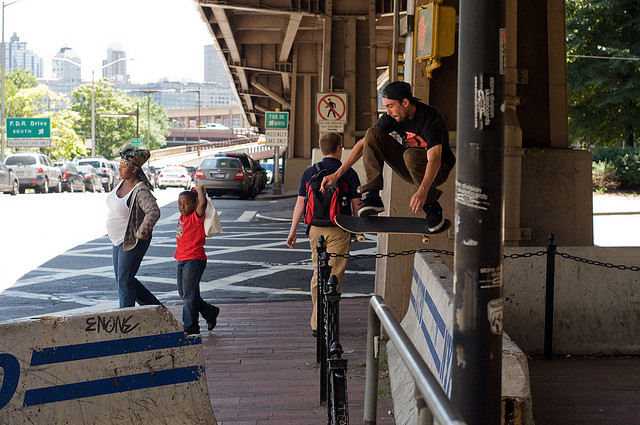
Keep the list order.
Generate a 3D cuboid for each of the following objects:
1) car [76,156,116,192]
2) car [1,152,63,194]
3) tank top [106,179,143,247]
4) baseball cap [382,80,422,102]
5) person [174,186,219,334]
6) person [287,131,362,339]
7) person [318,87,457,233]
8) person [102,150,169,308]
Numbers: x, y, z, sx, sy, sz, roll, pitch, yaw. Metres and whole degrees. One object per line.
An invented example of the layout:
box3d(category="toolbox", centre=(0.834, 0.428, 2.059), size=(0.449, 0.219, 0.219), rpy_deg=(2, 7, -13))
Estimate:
box3d(category="car", centre=(-10.705, -1.773, 45.823), size=(1.451, 1.482, 3.250), rpy_deg=(0, 7, -1))
box3d(category="car", centre=(-12.643, -1.669, 40.045), size=(1.747, 1.952, 4.471), rpy_deg=(0, 0, -3))
box3d(category="tank top", centre=(-2.906, 0.015, 14.013), size=(0.519, 0.961, 0.374), rpy_deg=(0, 8, 6))
box3d(category="baseball cap", centre=(1.020, -1.571, 12.481), size=(0.321, 0.147, 0.223), rpy_deg=(4, 10, -23))
box3d(category="person", centre=(-1.821, 0.710, 14.171), size=(0.813, 2.279, 1.162), rpy_deg=(0, -1, -19))
box3d(category="person", centre=(0.093, 0.295, 13.988), size=(1.073, 2.940, 0.702), rpy_deg=(1, -6, 11))
box3d(category="person", centre=(1.055, -0.697, 12.894), size=(1.273, 1.956, 0.980), rpy_deg=(3, 9, 27))
box3d(category="person", centre=(-2.793, 0.431, 14.313), size=(0.855, 2.694, 1.033), rpy_deg=(2, 5, -3))
